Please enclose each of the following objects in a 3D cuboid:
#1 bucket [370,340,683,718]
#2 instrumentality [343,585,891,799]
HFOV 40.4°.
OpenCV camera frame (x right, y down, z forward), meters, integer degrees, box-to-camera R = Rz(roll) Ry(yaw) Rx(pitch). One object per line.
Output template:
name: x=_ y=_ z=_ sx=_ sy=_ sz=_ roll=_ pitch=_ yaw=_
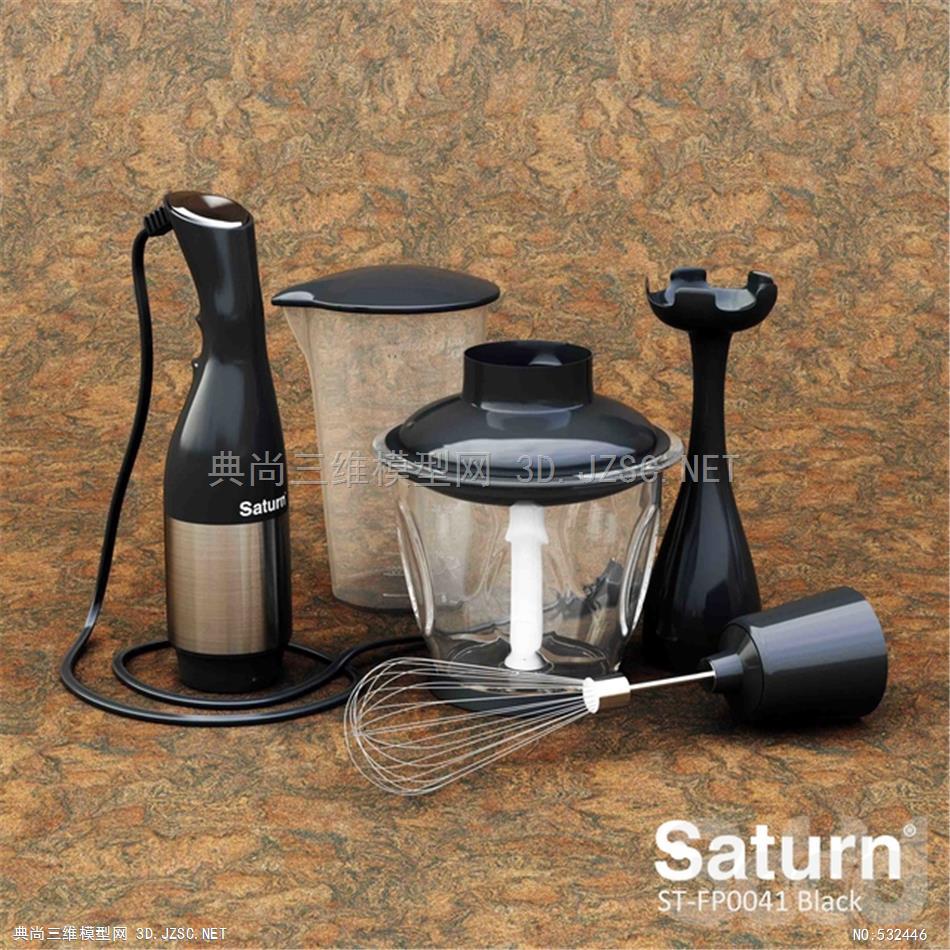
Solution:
bucket: x=0.058 y=0.030 z=1.141 sx=0.360 sy=0.296 sz=0.309 roll=-1 pitch=16 yaw=-1
instrumentality: x=0.095 y=0.153 z=1.054 sx=0.412 sy=0.122 sz=0.201 roll=-3 pitch=13 yaw=-9
